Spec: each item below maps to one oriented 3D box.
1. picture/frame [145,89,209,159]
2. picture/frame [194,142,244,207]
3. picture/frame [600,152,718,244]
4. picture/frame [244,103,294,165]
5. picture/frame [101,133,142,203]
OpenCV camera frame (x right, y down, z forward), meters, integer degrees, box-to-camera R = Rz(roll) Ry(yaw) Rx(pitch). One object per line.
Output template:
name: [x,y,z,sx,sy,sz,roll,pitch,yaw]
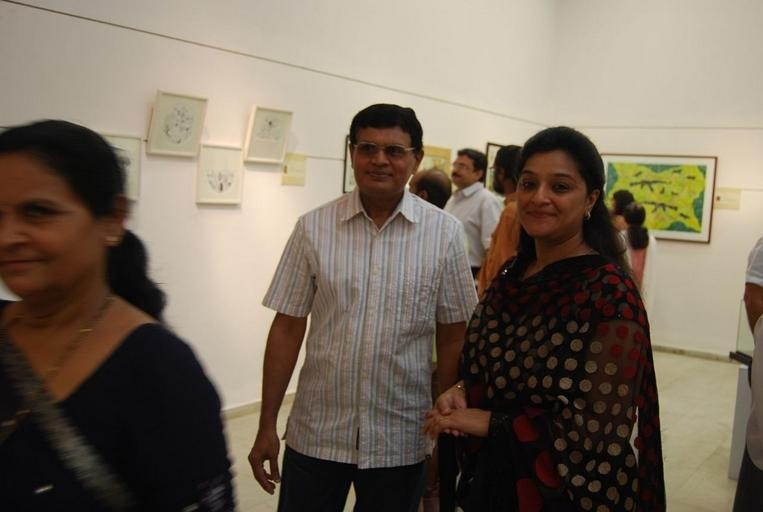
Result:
picture/frame: [-1.691,-1.093,4.167,0.086,0.569,0.537,14,2,40]
picture/frame: [-1.443,-0.734,4.477,0.083,0.605,0.523,13,15,42]
picture/frame: [3.977,-0.801,7.097,1.404,1.090,0.026,4,5,34]
picture/frame: [-1.099,-1.168,4.794,0.098,0.603,0.587,4,-3,11]
picture/frame: [-2.019,-0.807,3.972,0.310,0.299,0.067,-5,26,-19]
